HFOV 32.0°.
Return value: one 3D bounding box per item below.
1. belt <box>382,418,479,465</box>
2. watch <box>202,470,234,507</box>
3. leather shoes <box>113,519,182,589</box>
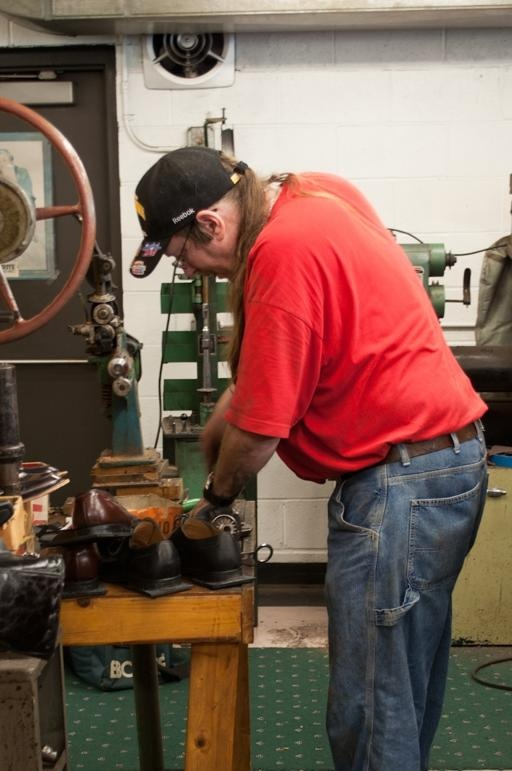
[{"bbox_3d":[0.306,0.102,1.529,0.109,0.029,0.080,-25,-4,10],"label":"belt"},{"bbox_3d":[-0.069,0.189,1.639,0.046,0.061,0.030,5,-7,37],"label":"watch"},{"bbox_3d":[-0.175,0.274,1.469,0.065,0.069,0.153,-4,9,-18],"label":"leather shoes"}]
